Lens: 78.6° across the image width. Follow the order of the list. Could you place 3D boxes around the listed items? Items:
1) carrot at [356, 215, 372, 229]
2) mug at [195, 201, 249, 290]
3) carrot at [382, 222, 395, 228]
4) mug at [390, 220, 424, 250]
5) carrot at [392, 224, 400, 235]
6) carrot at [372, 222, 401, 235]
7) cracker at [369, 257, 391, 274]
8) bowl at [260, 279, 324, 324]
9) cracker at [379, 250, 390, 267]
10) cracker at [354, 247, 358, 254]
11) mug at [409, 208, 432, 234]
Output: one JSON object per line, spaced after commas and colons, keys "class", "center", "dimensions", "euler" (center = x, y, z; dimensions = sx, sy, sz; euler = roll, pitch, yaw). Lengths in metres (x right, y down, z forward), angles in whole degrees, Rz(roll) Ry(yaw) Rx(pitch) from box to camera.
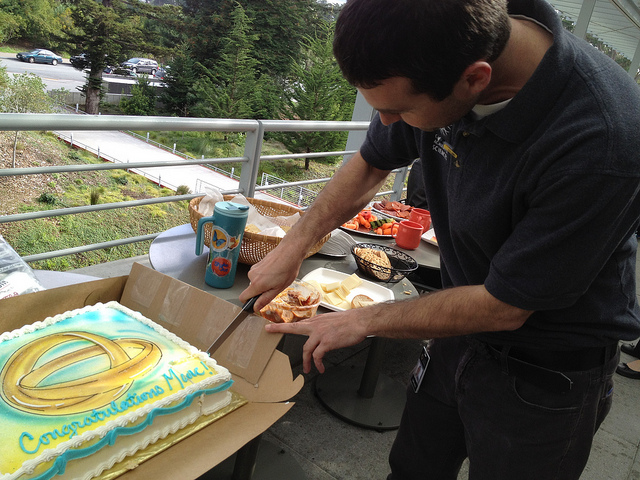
{"class": "carrot", "center": [0.233, -0.090, 2.108], "dimensions": [0.078, 0.024, 0.043], "euler": [39, 31, 2]}
{"class": "mug", "center": [-0.343, 0.002, 1.301], "dimensions": [0.186, 0.292, 0.104], "euler": [32, 33, 32]}
{"class": "carrot", "center": [0.365, -0.078, 2.077], "dimensions": [0.065, 0.019, 0.019], "euler": [-26, 26, -26]}
{"class": "mug", "center": [0.447, -0.025, 2.038], "dimensions": [0.172, 0.130, 0.131], "euler": [1, 18, -6]}
{"class": "carrot", "center": [0.402, -0.054, 2.064], "dimensions": [0.048, 0.047, 0.031], "euler": [3, 19, 39]}
{"class": "carrot", "center": [0.353, -0.055, 2.077], "dimensions": [0.083, 0.021, 0.080], "euler": [-18, 22, -18]}
{"class": "cracker", "center": [0.254, 0.103, 1.652], "dimensions": [0.062, 0.020, 0.067], "euler": [0, 34, -50]}
{"class": "bowl", "center": [-0.088, 0.178, 1.318], "dimensions": [0.206, 0.108, 0.214], "euler": [2, 18, -1]}
{"class": "cracker", "center": [0.283, 0.082, 1.719], "dimensions": [0.056, 0.019, 0.041], "euler": [50, 19, -16]}
{"class": "cracker", "center": [0.158, 0.049, 1.718], "dimensions": [0.009, 0.031, 0.031], "euler": [40, 10, 3]}
{"class": "mug", "center": [0.556, -0.108, 2.215], "dimensions": [0.116, 0.111, 0.154], "euler": [0, 24, 3]}
